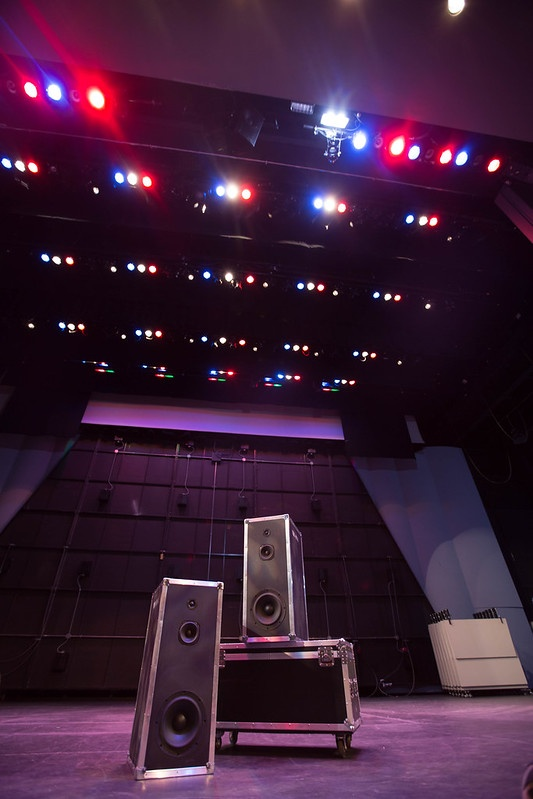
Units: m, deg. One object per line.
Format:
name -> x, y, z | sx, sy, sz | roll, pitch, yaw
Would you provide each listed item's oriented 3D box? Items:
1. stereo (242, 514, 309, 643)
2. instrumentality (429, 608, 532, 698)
stereo -> 0.090, 1.366, 3.712 | 0.589, 0.953, 0.525 | 11, -33, -17
instrumentality -> 3.324, 3.914, 7.425 | 1.089, 1.128, 0.565 | -17, -35, 25
